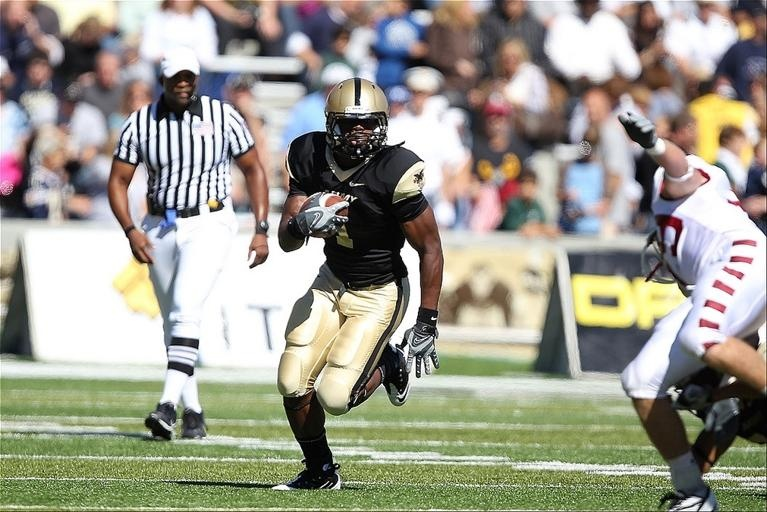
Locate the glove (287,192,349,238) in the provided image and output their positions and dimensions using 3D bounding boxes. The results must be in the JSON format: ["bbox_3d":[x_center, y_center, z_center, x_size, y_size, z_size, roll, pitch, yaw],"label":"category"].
[{"bbox_3d":[-0.358,-0.247,6.517,0.225,0.203,0.298,10,6,4],"label":"glove"}]

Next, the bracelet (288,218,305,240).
[{"bbox_3d":[-0.525,-0.160,6.542,0.110,0.097,0.126,-37,-5,5],"label":"bracelet"}]

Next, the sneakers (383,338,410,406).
[{"bbox_3d":[0.102,0.747,6.990,0.137,0.410,0.171,-6,23,-8],"label":"sneakers"}]

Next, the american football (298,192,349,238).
[{"bbox_3d":[-0.347,-0.243,6.480,0.277,0.223,0.222,-19,-15,-7],"label":"american football"}]

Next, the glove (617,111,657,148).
[{"bbox_3d":[1.426,-0.709,6.015,0.065,0.167,0.214,-33,59,-33],"label":"glove"}]

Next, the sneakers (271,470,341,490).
[{"bbox_3d":[-0.471,1.360,6.729,0.434,0.164,0.146,3,-8,-7],"label":"sneakers"}]

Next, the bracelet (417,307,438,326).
[{"bbox_3d":[0.267,0.359,6.594,0.095,0.088,0.117,6,3,-24],"label":"bracelet"}]

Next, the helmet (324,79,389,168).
[{"bbox_3d":[-0.160,-0.811,6.588,0.383,0.482,0.529,-1,4,-1],"label":"helmet"}]
